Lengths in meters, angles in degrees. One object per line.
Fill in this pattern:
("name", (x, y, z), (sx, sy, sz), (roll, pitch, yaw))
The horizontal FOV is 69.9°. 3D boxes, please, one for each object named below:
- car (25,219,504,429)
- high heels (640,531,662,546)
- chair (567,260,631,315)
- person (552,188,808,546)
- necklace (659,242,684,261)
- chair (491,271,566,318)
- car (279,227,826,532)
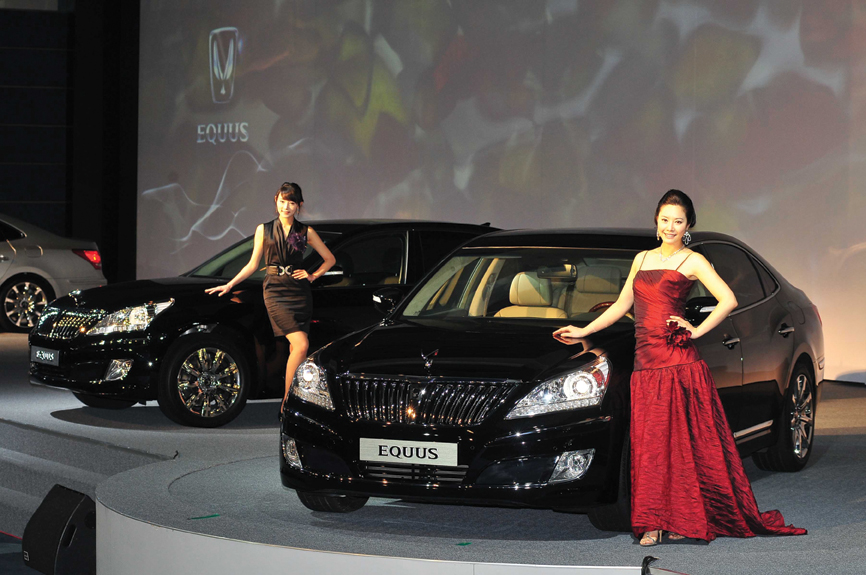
("car", (-1.522, 0.284, 6.904), (5.002, 1.703, 2.075), (0, 1, -32))
("high heels", (1.034, 1.179, 2.935), (0.052, 0.057, 0.146), (-5, -8, 38))
("chair", (1.053, 0.001, 3.994), (0.329, 0.423, 0.453), (2, 1, 18))
("person", (1.193, 0.437, 3.018), (0.801, 1.760, 0.520), (-12, 13, -21))
("necklace", (1.184, -0.183, 3.087), (0.114, 0.097, 0.139), (5, 6, 24))
("chair", (0.651, 0.032, 4.076), (0.275, 0.357, 0.410), (4, -1, 11))
("car", (0.908, 0.519, 4.116), (1.740, 1.263, 3.174), (0, -3, 33))
